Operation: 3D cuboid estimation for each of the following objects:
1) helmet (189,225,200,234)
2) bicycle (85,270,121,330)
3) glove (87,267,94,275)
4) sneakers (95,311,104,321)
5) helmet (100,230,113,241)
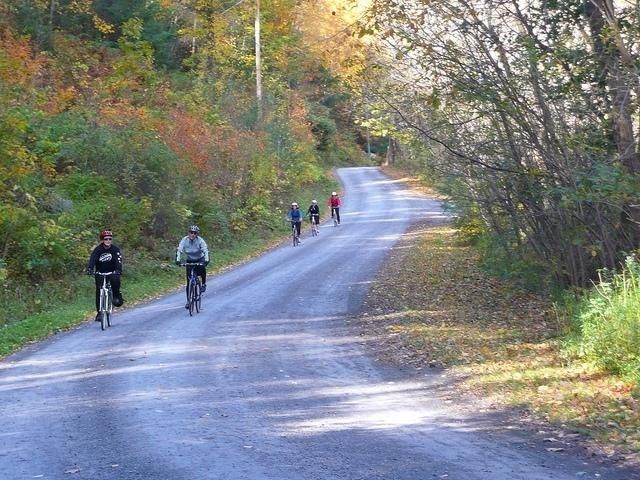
[{"bbox_3d":[-3.290,-0.269,22.543,0.235,0.134,0.309,4,-6,-20],"label":"helmet"},{"bbox_3d":[-5.271,1.473,21.056,0.452,1.307,1.014,-2,10,-12],"label":"bicycle"},{"bbox_3d":[-5.578,0.750,20.788,0.122,0.181,0.245,-2,9,-14],"label":"glove"},{"bbox_3d":[-5.343,1.852,20.743,0.209,0.284,0.205,5,-27,-9],"label":"sneakers"},{"bbox_3d":[-5.272,-0.120,21.110,0.298,0.184,0.397,3,-23,-41],"label":"helmet"}]
